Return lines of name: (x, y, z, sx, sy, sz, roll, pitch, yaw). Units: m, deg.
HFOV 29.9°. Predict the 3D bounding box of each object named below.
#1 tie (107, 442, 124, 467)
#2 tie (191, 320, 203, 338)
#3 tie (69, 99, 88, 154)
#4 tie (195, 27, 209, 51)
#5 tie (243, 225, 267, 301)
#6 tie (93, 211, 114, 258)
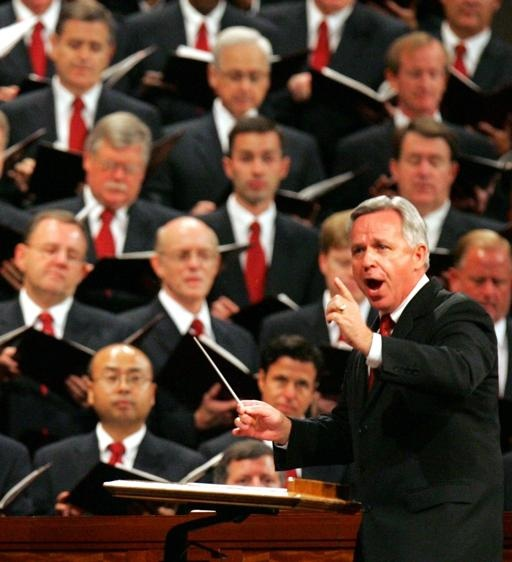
tie: (-0.550, 0.684, 3.777, 0.060, 0.087, 0.020, 1, -2, -1)
tie: (-0.243, 0.190, 3.907, 0.057, 0.066, 0.051, 2, 21, -13)
tie: (-0.723, -0.637, 3.911, 0.070, 0.205, 0.130, 2, 21, -12)
tie: (-0.226, -1.024, 4.022, 0.059, 0.102, 0.053, 5, 21, -5)
tie: (0.005, -0.073, 3.976, 0.075, 0.331, 0.017, -10, 19, -21)
tie: (-0.602, -0.221, 3.867, 0.077, 0.058, 0.233, 1, -20, -12)
